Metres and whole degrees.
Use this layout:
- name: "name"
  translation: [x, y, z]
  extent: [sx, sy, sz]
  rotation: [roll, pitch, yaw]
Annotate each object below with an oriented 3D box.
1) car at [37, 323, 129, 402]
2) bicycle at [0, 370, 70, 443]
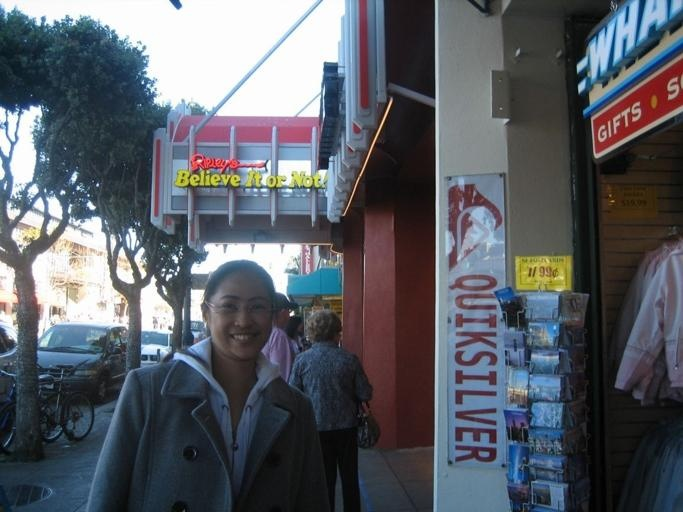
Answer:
- name: "car"
  translation: [-6.220, 2.529, 14.492]
  extent: [1.466, 1.495, 2.724]
  rotation: [-1, -13, 1]
- name: "bicycle"
  translation: [-5.216, 2.624, 10.139]
  extent: [0.730, 1.167, 1.667]
  rotation: [-6, -9, 13]
